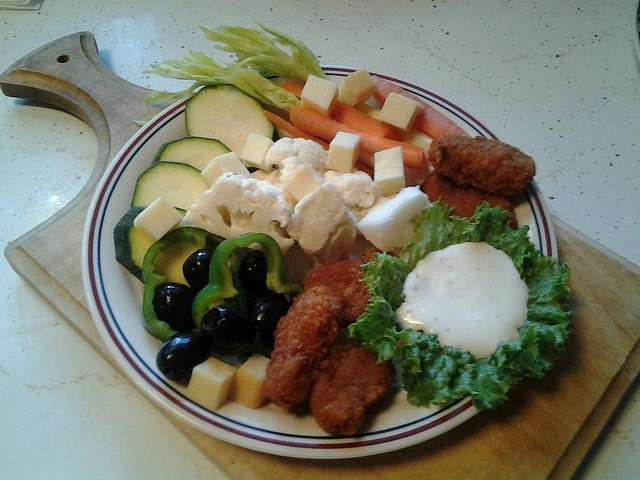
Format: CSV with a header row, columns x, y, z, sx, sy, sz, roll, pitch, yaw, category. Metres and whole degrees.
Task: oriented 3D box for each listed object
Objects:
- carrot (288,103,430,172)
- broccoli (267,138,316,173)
x,y,z,sx,sy,sz,roll,pitch,yaw,category
0.118,-0.488,2.836,0.837,0.145,0.198,15,38,-18,carrot
-0.123,-0.410,2.660,0.155,0.050,0.155,29,52,27,broccoli
